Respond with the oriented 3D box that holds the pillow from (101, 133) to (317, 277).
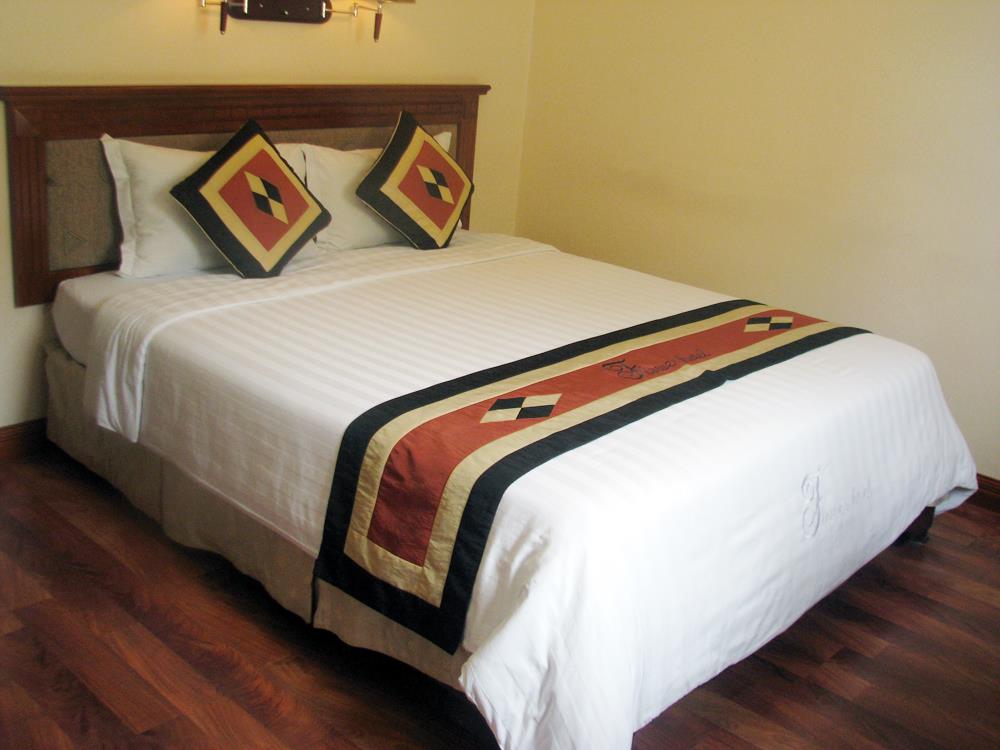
[{"bbox_3d":[-1.215,-0.679,3.041,0.537,0.357,0.132,-16,17,-27],"label":"pillow"}]
